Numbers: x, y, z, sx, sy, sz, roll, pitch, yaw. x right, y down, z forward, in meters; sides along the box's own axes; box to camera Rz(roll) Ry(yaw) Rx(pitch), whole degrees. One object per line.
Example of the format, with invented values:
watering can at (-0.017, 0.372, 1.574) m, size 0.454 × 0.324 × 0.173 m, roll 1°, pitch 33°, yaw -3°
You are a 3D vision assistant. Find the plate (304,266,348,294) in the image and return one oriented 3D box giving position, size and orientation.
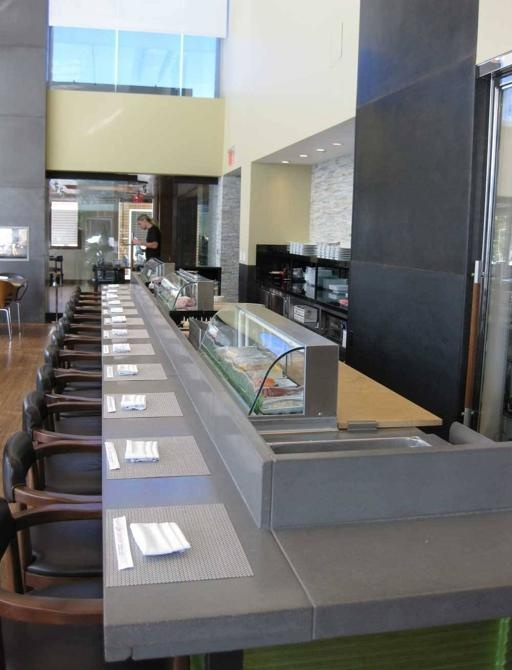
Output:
plate at (0.884, -0.666, 6.331) m, size 0.347 × 0.327 × 1.020 m, roll -3°, pitch 5°, yaw -14°

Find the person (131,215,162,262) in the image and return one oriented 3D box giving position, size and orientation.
person at (-1.720, -1.323, 8.460) m, size 0.431 × 1.151 × 0.493 m, roll -6°, pitch 16°, yaw -12°
